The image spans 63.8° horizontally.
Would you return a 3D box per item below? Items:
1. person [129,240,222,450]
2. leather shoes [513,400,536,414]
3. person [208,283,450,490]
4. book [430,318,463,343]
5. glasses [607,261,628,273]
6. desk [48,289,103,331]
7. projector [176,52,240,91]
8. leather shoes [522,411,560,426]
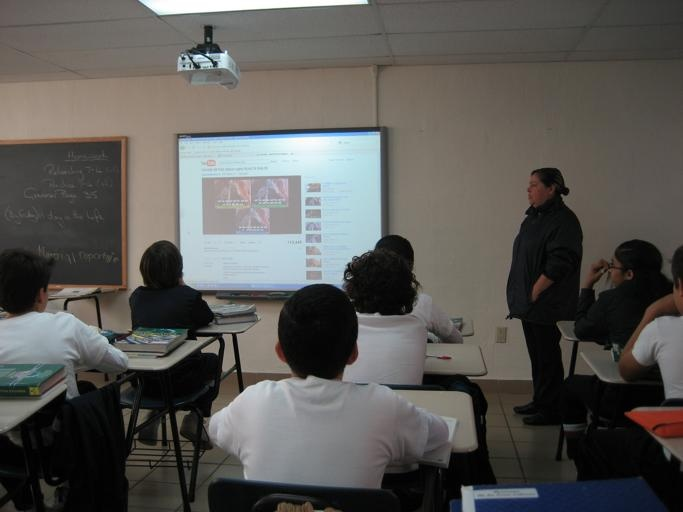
[{"bbox_3d":[-1.024,0.588,3.352,0.523,1.357,0.461,0,2,-9],"label":"person"},{"bbox_3d":[1.388,1.140,4.189,0.197,0.085,0.073,-3,4,19],"label":"leather shoes"},{"bbox_3d":[-0.014,0.429,1.856,0.822,0.667,0.374,0,2,-17],"label":"person"},{"bbox_3d":[0.656,0.441,3.324,0.131,0.055,0.199,-8,6,-22],"label":"book"},{"bbox_3d":[1.609,0.062,3.205,0.077,0.025,0.081,2,9,-27],"label":"glasses"},{"bbox_3d":[-2.398,0.490,4.914,0.462,0.467,0.389,6,-2,-23],"label":"desk"},{"bbox_3d":[-0.883,-1.326,3.801,0.340,0.175,0.469,0,14,9],"label":"projector"},{"bbox_3d":[1.454,1.178,4.026,0.270,0.114,0.099,2,1,6],"label":"leather shoes"}]
